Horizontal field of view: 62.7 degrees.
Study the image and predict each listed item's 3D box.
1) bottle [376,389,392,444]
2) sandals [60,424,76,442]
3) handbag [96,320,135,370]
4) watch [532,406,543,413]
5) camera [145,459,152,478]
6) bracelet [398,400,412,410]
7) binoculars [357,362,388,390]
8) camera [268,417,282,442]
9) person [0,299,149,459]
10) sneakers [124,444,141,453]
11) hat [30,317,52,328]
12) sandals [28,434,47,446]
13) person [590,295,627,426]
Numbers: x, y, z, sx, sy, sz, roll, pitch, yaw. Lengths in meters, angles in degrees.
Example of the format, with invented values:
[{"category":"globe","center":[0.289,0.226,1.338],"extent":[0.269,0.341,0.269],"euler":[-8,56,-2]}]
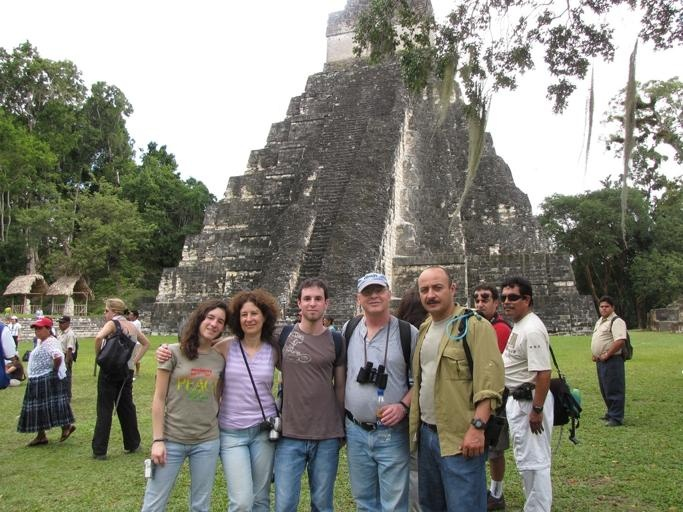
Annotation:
[{"category":"bottle","center":[0.346,1.339,4.722],"extent":[0.101,0.411,0.106],"euler":[-7,5,1]},{"category":"sandals","center":[-3.649,2.325,7.509],"extent":[0.140,0.118,0.351],"euler":[25,-61,-16]},{"category":"handbag","center":[-2.809,1.110,7.000],"extent":[0.378,0.667,0.475],"euler":[11,-44,-9]},{"category":"watch","center":[1.754,1.371,5.021],"extent":[0.060,0.034,0.061],"euler":[1,-8,18]},{"category":"camera","center":[-1.621,1.789,4.728],"extent":[0.061,0.139,0.092],"euler":[-9,5,-21]},{"category":"bracelet","center":[0.546,1.258,4.748],"extent":[0.021,0.073,0.077],"euler":[-36,-29,12]},{"category":"binoculars","center":[0.265,1.015,4.768],"extent":[0.220,0.225,0.082],"euler":[7,-5,3]},{"category":"camera","center":[-0.575,1.491,4.867],"extent":[0.133,0.129,0.063],"euler":[-10,5,-23]},{"category":"person","center":[-3.059,1.540,7.251],"extent":[1.113,1.637,1.028],"euler":[-10,6,-29]},{"category":"sneakers","center":[-2.644,2.429,7.092],"extent":[0.103,0.052,0.139],"euler":[0,-1,-18]},{"category":"hat","center":[-4.027,0.898,7.583],"extent":[0.172,0.136,0.249],"euler":[-7,-17,38]},{"category":"sandals","center":[-3.964,2.413,7.357],"extent":[0.246,0.170,0.090],"euler":[7,-9,-25]},{"category":"person","center":[3.698,1.429,7.714],"extent":[0.473,1.648,0.951],"euler":[-5,6,26]}]
